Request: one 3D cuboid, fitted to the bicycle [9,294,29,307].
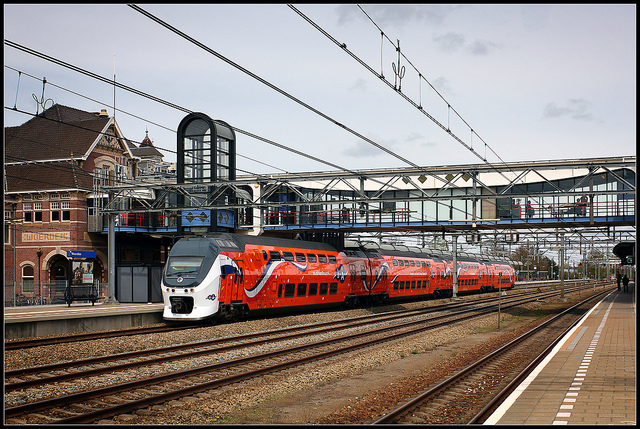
[{"bbox_3d":[-20.473,5.739,42.162,1.174,0.703,1.164,-1,-6,-6],"label":"bicycle"}]

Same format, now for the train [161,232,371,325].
[{"bbox_3d":[-2.025,4.013,38.874,2.888,4.418,20.429,-4,-7,29],"label":"train"}]

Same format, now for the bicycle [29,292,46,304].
[{"bbox_3d":[-19.321,5.806,42.314,0.861,0.398,0.564,9,0,0],"label":"bicycle"}]
